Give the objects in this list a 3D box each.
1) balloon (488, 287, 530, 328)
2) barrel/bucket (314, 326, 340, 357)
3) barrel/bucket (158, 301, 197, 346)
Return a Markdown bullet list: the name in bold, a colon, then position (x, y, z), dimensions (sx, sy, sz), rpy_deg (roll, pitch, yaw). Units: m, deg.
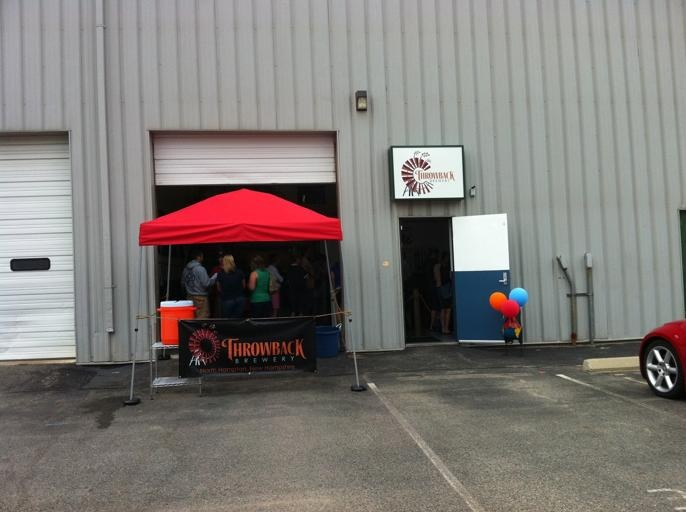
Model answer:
- **balloon**: position (3.324, 0.919, 13.583), dimensions (0.913, 1.005, 0.655), rpy_deg (-1, 0, 26)
- **barrel/bucket**: position (-0.290, 1.678, 13.642), dimensions (0.543, 0.466, 0.551), rpy_deg (-1, 0, 0)
- **barrel/bucket**: position (-2.788, 1.126, 11.336), dimensions (0.624, 0.827, 0.652), rpy_deg (-1, -7, 0)
